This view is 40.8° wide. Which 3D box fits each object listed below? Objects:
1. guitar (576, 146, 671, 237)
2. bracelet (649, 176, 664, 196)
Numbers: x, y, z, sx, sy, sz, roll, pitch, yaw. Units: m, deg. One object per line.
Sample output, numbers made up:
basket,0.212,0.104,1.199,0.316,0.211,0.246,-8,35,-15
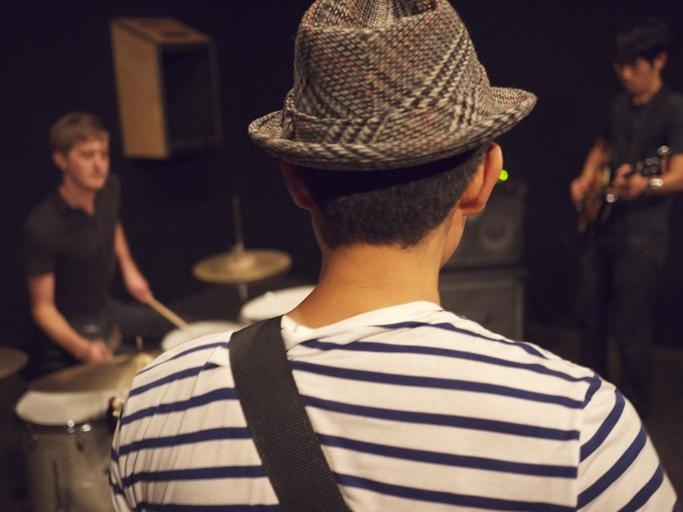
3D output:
guitar,1.170,-0.182,3.681,0.342,0.090,0.303,40,6,-47
bracelet,1.222,-0.275,3.558,0.045,0.060,0.022,3,40,4
